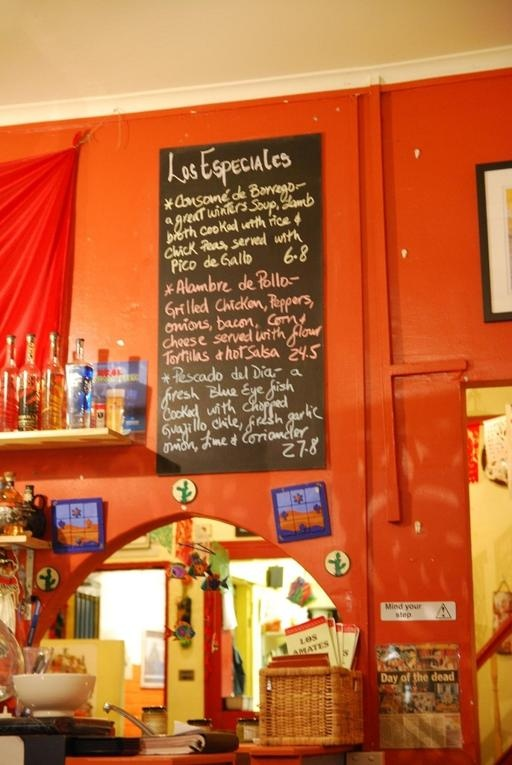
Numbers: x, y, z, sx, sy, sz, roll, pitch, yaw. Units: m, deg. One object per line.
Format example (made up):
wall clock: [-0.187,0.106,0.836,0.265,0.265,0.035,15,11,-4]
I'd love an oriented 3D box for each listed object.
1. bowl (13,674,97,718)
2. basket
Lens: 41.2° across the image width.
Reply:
bowl: [-0.415,0.667,1.403,0.131,0.067,0.133,0,-28,0]
basket: [0.174,1.009,2.104,0.262,0.219,0.269,-10,-29,19]
